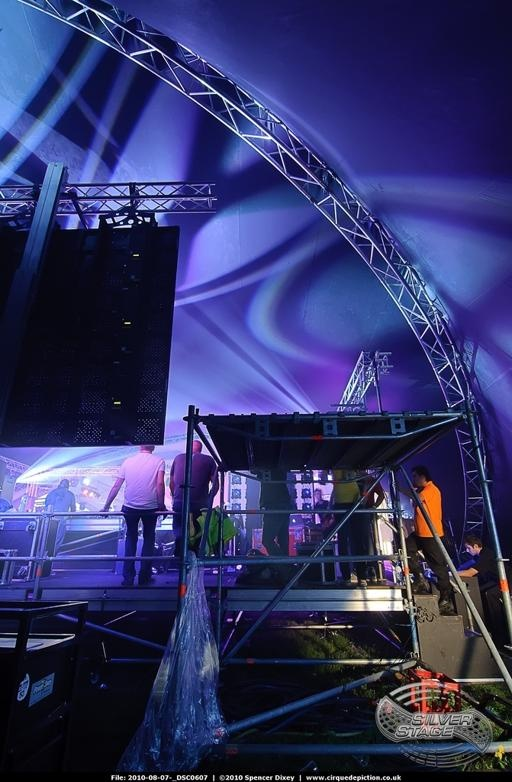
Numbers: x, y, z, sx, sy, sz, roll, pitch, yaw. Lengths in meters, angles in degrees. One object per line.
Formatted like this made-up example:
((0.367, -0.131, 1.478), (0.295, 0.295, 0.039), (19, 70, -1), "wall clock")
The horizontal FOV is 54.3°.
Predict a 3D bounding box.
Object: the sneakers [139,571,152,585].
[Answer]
((-1.357, 2.293, 6.100), (0.167, 0.130, 0.538), (4, -15, -13), "sneakers")

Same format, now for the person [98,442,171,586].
((-1.557, 1.539, 6.491), (0.801, 1.816, 1.098), (6, -16, -20), "person")

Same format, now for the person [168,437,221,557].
((-0.821, 1.337, 6.476), (0.608, 1.567, 1.844), (3, -15, -10), "person")

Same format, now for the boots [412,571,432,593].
((1.817, 2.107, 5.504), (0.154, 0.296, 0.171), (-7, -6, 40), "boots")
